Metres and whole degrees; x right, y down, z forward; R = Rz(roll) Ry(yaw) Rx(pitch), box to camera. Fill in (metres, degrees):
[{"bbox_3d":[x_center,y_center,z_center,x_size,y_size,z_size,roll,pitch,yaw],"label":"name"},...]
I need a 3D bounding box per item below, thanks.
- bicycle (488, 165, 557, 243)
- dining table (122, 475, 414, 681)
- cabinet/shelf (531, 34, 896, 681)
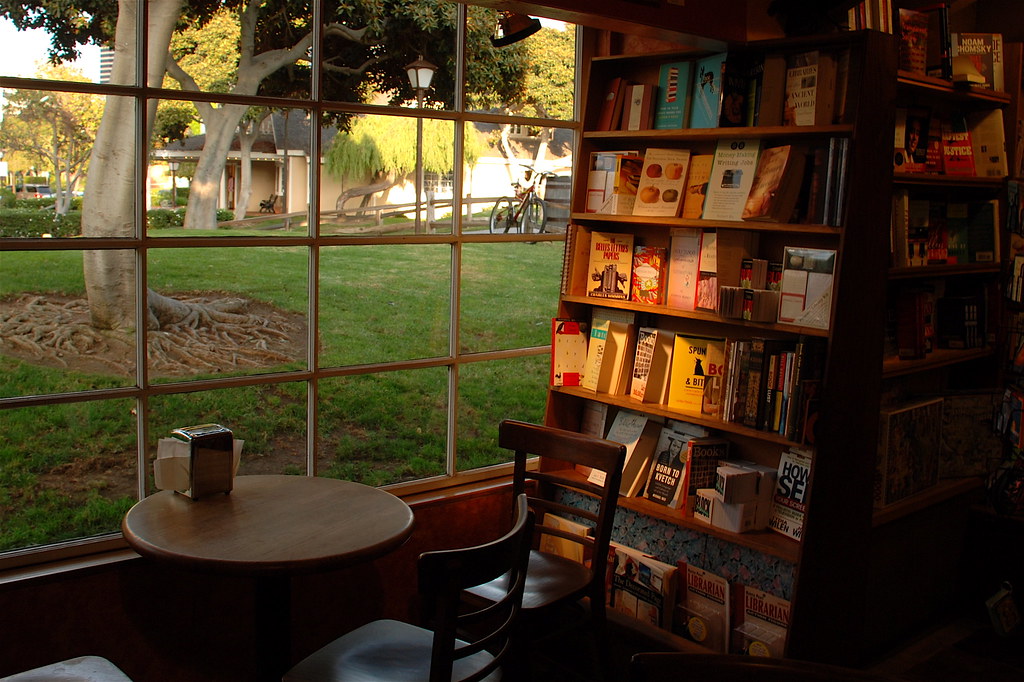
[{"bbox_3d":[0.046,-0.696,3.737,0.277,0.355,0.567,7,7,-31],"label":"bicycle"},{"bbox_3d":[-0.862,0.648,2.454,0.789,0.532,0.769,1,14,-9],"label":"dining table"},{"bbox_3d":[0.816,0.004,3.404,0.804,3.008,1.723,-18,26,-34],"label":"cabinet/shelf"}]
